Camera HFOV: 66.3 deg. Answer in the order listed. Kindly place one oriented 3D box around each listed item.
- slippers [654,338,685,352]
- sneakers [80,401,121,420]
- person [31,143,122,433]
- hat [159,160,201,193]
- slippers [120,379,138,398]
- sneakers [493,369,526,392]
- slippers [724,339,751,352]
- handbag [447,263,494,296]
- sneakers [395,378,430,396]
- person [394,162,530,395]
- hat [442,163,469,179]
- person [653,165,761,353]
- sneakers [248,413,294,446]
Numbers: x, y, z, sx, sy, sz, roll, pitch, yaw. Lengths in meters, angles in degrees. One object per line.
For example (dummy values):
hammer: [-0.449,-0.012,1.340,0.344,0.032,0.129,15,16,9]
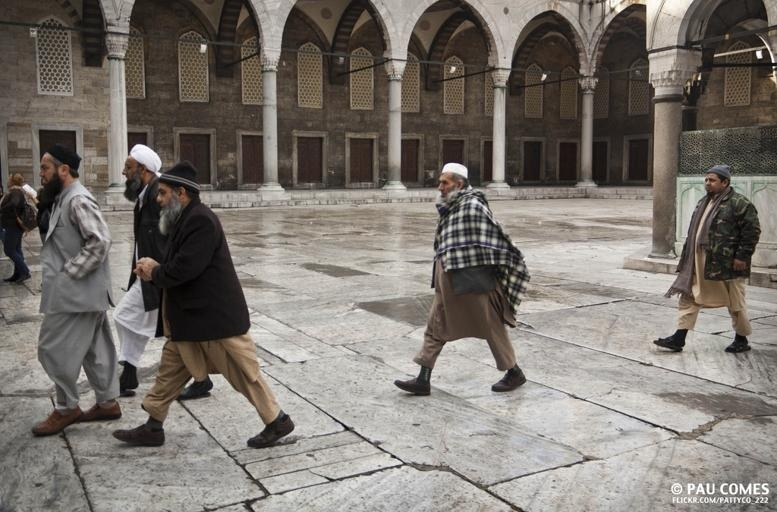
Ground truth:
slippers: [2.832,0.888,6.016,0.313,0.131,0.130,9,7,16]
sneakers: [-2.215,1.216,4.669,0.351,0.127,0.114,2,2,-14]
person: [-2.431,0.238,4.517,0.642,2.101,0.681,-6,14,-24]
hat: [-1.496,-0.569,4.288,0.264,0.165,0.254,8,5,0]
slippers: [-2.226,1.148,5.079,0.083,0.101,0.155,1,-11,18]
sneakers: [1.049,1.073,5.135,0.356,0.142,0.137,-7,11,-26]
slippers: [3.481,0.912,5.974,0.275,0.172,0.111,-2,-5,3]
handbag: [0.692,0.206,4.950,0.370,0.233,0.105,-1,13,-3]
sneakers: [0.225,1.107,5.076,0.325,0.141,0.124,11,0,-2]
person: [0.689,0.204,5.055,0.975,1.886,0.593,1,13,4]
hat: [0.645,-0.754,5.226,0.292,0.143,0.217,-9,12,-28]
person: [3.315,0.031,6.013,0.911,1.809,0.800,3,13,14]
sneakers: [-0.844,1.272,4.304,0.326,0.151,0.113,-22,29,-24]
